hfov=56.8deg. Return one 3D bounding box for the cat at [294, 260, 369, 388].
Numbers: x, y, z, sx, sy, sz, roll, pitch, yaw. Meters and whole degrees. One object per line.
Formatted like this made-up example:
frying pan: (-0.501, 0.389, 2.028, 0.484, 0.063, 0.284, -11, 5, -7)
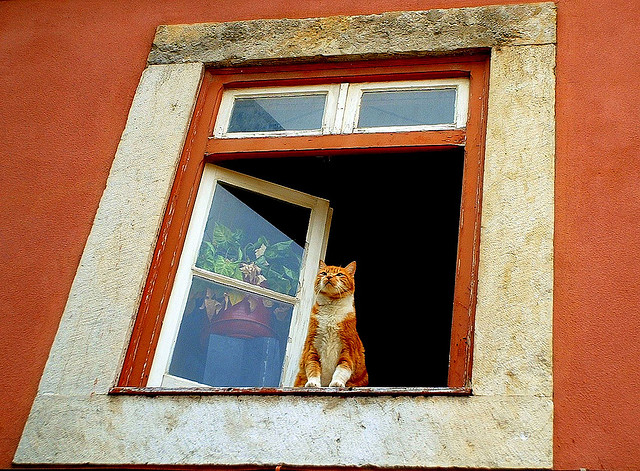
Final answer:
cat: (0.102, 0.477, 3.315, 0.395, 0.747, 0.524, 7, -13, 5)
